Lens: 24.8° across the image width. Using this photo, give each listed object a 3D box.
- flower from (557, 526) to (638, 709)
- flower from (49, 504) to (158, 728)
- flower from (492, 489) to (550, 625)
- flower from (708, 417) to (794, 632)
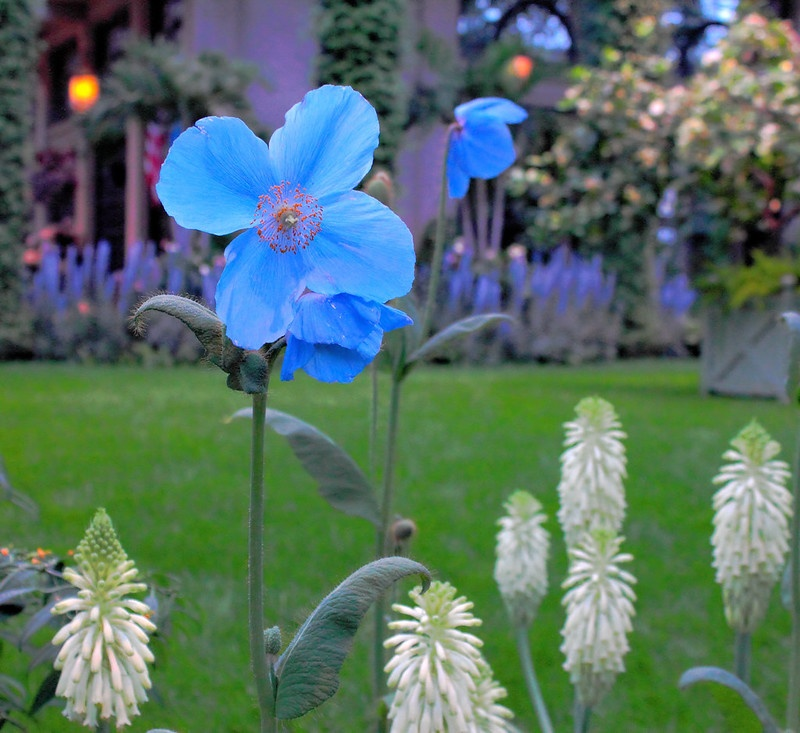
[{"bbox_3d":[0.745,0.957,6.898,0.271,0.681,0.211,2,-1,7],"label":"flower"},{"bbox_3d":[-1.077,0.935,6.704,0.373,0.658,0.152,3,-1,-8],"label":"flower"},{"bbox_3d":[0.473,0.758,7.117,0.206,0.360,0.270,2,-1,4],"label":"flower"},{"bbox_3d":[1.328,0.613,6.931,0.295,0.808,0.184,2,-1,11],"label":"flower"}]
